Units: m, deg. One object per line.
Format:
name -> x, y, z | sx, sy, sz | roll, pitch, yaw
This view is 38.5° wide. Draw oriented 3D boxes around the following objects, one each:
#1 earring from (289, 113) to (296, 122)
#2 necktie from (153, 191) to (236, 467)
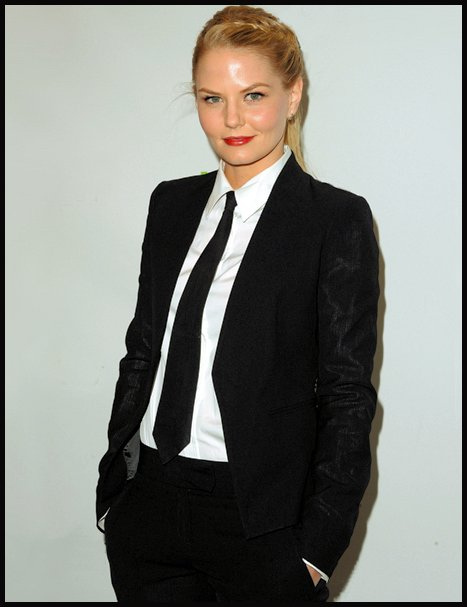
earring -> 0.164, -0.513, 1.837 | 0.011, 0.020, 0.028 | 11, -24, 20
necktie -> -0.090, 0.074, 1.658 | 0.085, 0.672, 0.132 | 2, -16, 41
